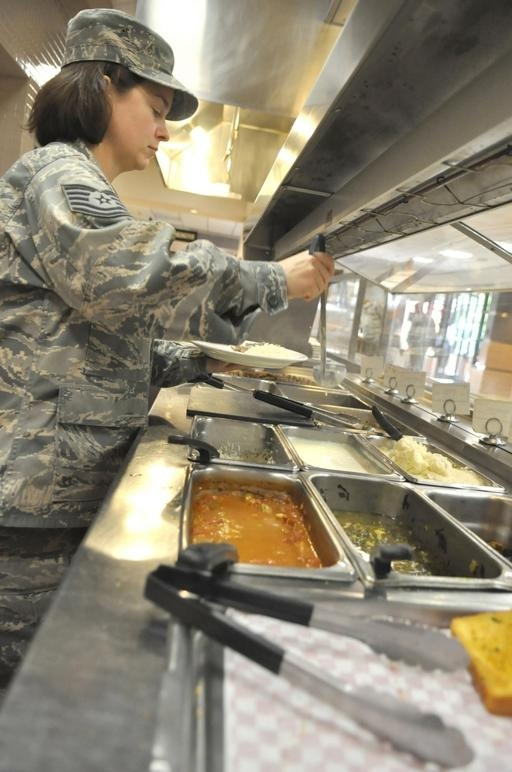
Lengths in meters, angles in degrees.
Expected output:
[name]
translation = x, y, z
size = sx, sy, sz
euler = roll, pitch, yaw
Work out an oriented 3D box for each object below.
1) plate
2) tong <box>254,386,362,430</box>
[plate]
translation = -0.014, -0.107, 1.595
size = 0.390, 0.098, 0.319
euler = 0, 8, -33
[tong]
translation = 0.200, 0.090, 1.857
size = 0.340, 0.051, 0.066
euler = 13, 18, -24
